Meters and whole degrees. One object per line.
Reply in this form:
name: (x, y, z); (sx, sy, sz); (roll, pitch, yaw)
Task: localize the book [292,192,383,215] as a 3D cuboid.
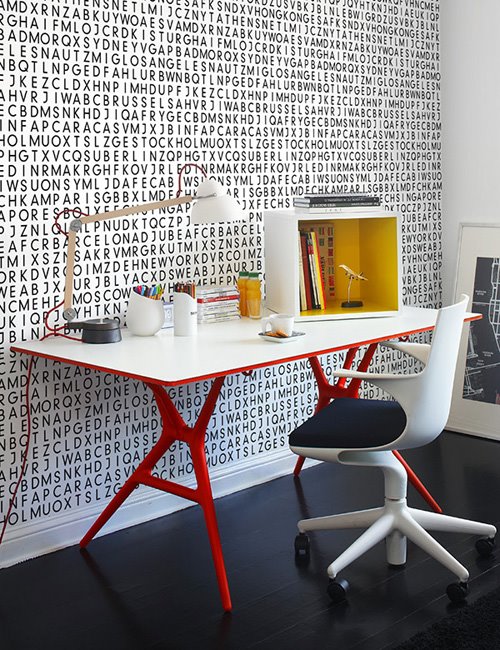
book: (0.348, -0.476, 2.175); (0.342, 0.074, 0.179); (-1, 8, 5)

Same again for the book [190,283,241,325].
book: (-0.127, -0.103, 2.118); (0.115, 0.131, 0.168); (1, 6, 40)

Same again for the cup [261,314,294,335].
cup: (0.084, -0.003, 1.624); (0.075, 0.070, 0.054); (2, 5, 30)

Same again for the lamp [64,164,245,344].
lamp: (-0.369, -0.251, 1.984); (0.534, 0.691, 0.180); (-1, 5, -21)

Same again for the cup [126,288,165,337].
cup: (-0.348, -0.043, 1.877); (0.097, 0.172, 0.110); (-1, 5, -5)

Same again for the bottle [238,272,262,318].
bottle: (-0.002, -0.114, 2.237); (0.068, 0.236, 0.143); (-2, 5, -9)

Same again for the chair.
chair: (0.445, 0.277, 1.856); (0.619, 1.065, 0.751); (2, 4, 20)
